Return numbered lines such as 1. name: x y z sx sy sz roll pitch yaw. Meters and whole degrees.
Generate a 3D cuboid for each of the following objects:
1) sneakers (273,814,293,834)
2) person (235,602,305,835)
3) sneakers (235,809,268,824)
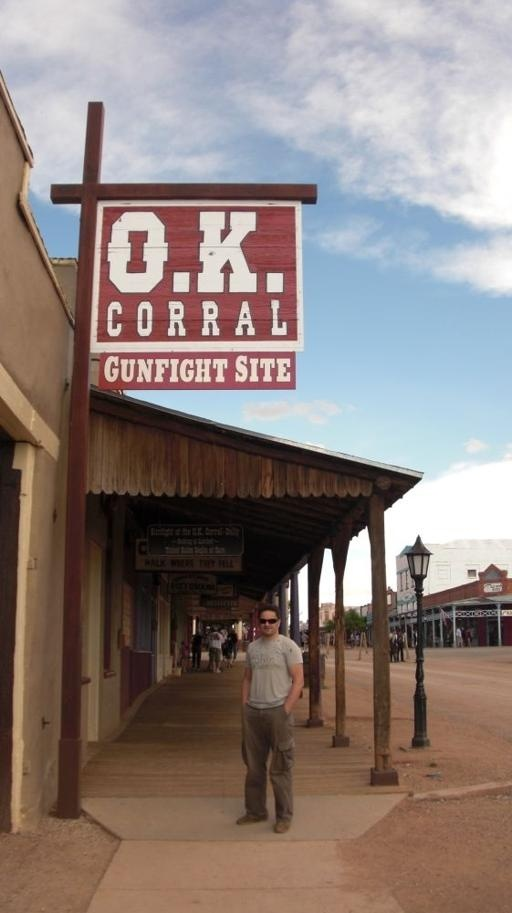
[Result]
1. sneakers: 0.163 2.460 5.222 0.099 0.076 0.145 -3 -14 11
2. person: 0.107 1.807 5.481 0.391 1.471 0.629 6 -13 -34
3. sneakers: -0.028 2.492 5.452 0.202 0.123 0.087 9 -11 -14
